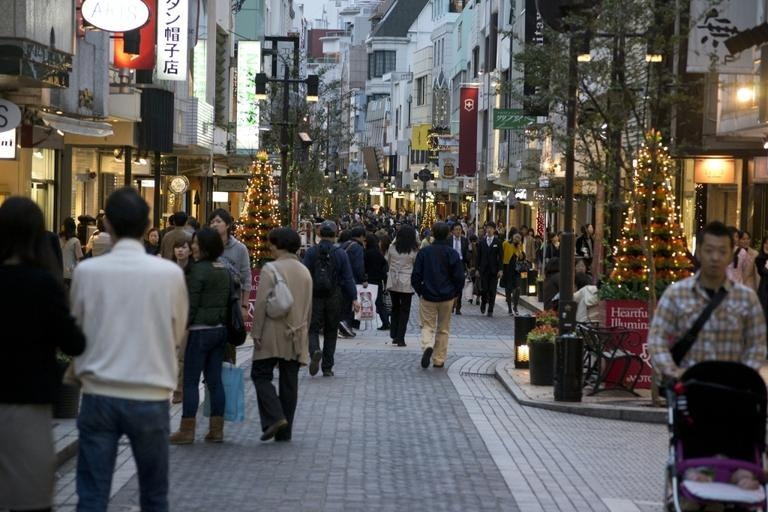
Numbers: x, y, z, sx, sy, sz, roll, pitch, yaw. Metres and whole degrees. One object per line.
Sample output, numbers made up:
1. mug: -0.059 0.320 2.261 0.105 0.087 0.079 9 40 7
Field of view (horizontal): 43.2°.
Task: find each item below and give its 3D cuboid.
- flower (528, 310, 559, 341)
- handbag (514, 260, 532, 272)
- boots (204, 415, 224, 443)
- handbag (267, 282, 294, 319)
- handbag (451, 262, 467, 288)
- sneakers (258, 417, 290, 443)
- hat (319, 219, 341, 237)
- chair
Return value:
1. flower: 2.601 1.129 15.645 0.340 0.235 0.509 -4 19 -8
2. handbag: 4.021 0.280 28.008 0.343 0.347 0.147 2 -20 -6
3. boots: -1.959 1.995 11.266 0.160 0.294 0.368 -1 7 -10
4. handbag: -1.212 0.510 11.166 0.346 0.456 0.213 2 5 -42
5. handbag: 1.314 0.316 16.767 0.115 0.418 0.279 -2 -15 18
6. sneakers: -1.315 1.974 11.282 0.183 0.227 0.477 -1 -34 -46
7. hat: -0.919 -0.446 16.165 0.312 0.260 0.544 5 10 0
8. chair: 3.359 1.503 14.682 1.019 1.469 0.877 -1 3 -7
